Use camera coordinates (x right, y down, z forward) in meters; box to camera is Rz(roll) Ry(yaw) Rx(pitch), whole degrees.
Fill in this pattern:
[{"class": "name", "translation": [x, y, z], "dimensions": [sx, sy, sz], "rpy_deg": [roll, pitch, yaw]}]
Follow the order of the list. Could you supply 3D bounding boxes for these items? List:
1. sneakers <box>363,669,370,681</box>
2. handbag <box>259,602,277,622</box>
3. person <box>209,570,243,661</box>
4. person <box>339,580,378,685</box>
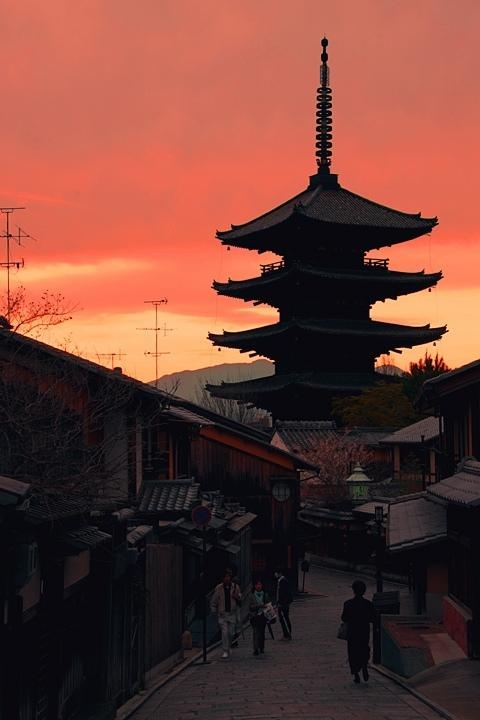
[{"class": "sneakers", "translation": [1.765, 4.361, 17.758], "dimensions": [0.039, 0.162, 0.105], "rpy_deg": [-1, -5, -45]}, {"class": "handbag", "translation": [0.502, 4.206, 21.226], "dimensions": [0.179, 0.396, 0.759], "rpy_deg": [-1, -4, 6]}, {"class": "person", "translation": [-0.218, 4.139, 20.777], "dimensions": [0.432, 1.418, 0.784], "rpy_deg": [-1, -3, 4]}, {"class": "person", "translation": [1.645, 3.785, 17.831], "dimensions": [0.458, 1.380, 0.803], "rpy_deg": [-1, -3, 6]}]
